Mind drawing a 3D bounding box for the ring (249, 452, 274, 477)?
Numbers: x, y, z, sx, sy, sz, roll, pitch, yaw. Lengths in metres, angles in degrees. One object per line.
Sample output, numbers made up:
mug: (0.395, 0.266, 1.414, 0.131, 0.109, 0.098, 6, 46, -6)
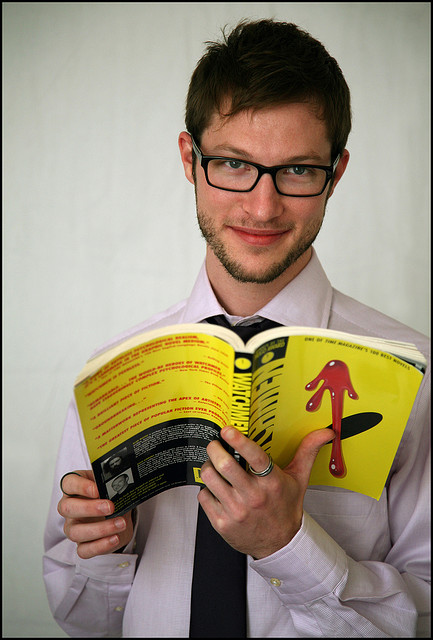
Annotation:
ring: (0.068, 0.225, 0.838, 0.038, 0.038, 0.035, -4, 18, 1)

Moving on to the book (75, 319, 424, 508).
book: (0.057, 0.178, 0.892, 0.529, 0.389, 0.151, -8, 19, -11)

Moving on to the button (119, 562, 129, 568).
button: (-0.201, 0.534, 1.189, 0.014, 0.014, 0.003, -2, 27, -14)
